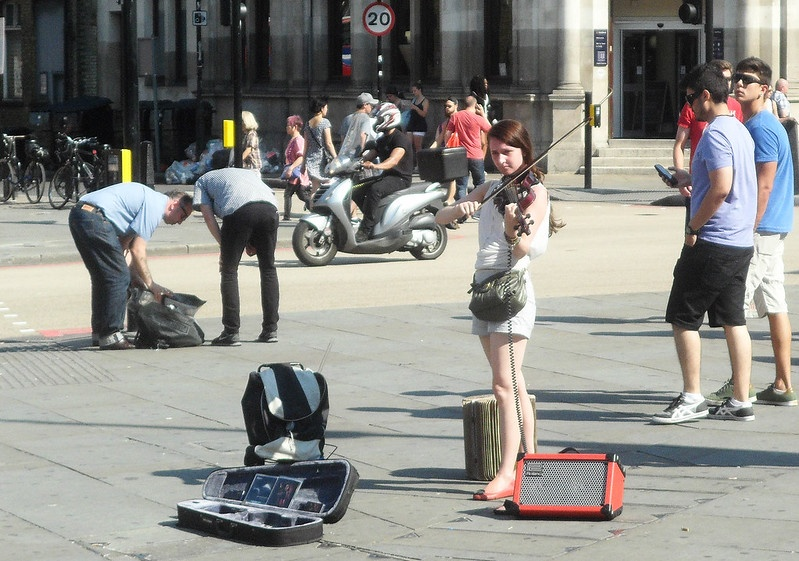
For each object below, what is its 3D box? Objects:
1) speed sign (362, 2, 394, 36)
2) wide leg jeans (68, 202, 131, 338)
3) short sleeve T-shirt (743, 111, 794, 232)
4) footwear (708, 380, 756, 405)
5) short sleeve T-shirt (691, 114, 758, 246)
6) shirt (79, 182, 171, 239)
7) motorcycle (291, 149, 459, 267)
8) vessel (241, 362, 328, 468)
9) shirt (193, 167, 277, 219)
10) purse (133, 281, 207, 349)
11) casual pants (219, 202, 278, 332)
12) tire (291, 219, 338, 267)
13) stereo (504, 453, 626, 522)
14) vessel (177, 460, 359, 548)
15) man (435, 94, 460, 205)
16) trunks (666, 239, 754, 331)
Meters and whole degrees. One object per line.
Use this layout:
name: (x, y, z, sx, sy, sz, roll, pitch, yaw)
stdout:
speed sign: (-0.389, -4.543, 32.566, 0.486, 0.598, 0.775, 0, 7, 0)
wide leg jeans: (-3.121, -0.097, 19.471, 0.589, 1.401, 0.397, -1, 7, -9)
short sleeve T-shirt: (3.387, -0.986, 17.342, 0.761, 1.151, 1.091, 1, 8, 11)
footwear: (2.996, 1.051, 17.324, 0.580, 0.222, 0.178, -1, 4, 4)
short sleeve T-shirt: (2.928, -0.891, 16.886, 0.609, 1.195, 0.457, 0, 7, 4)
shirt: (-2.876, -0.755, 19.470, 0.819, 0.285, 0.578, 9, 7, -13)
motorcycle: (-0.431, -0.940, 24.427, 2.322, 1.335, 1.065, -2, -2, -35)
vessel: (-0.992, 1.162, 16.175, 0.816, 0.831, 0.771, -2, -2, -16)
shirt: (-1.844, -0.912, 19.821, 0.779, 0.331, 0.658, 11, 14, -24)
purse: (-2.584, 0.443, 19.632, 0.709, 0.501, 0.883, -4, -13, 41)
casual pants: (-1.597, -0.138, 19.709, 0.603, 1.391, 0.659, -1, 7, -4)
tire: (-1.123, -0.486, 24.188, 0.619, 0.613, 0.427, -2, 7, -13)
stereo: (1.224, 1.636, 15.594, 0.990, 0.523, 0.486, 3, 12, -16)
vessel: (-1.095, 1.793, 15.375, 1.294, 0.622, 0.668, 2, 7, 17)
man: (0.744, -2.129, 29.333, 0.499, 1.451, 0.452, 6, 14, 7)
trunks: (2.844, 0.047, 17.046, 1.012, 0.853, 0.559, 4, 8, -11)
